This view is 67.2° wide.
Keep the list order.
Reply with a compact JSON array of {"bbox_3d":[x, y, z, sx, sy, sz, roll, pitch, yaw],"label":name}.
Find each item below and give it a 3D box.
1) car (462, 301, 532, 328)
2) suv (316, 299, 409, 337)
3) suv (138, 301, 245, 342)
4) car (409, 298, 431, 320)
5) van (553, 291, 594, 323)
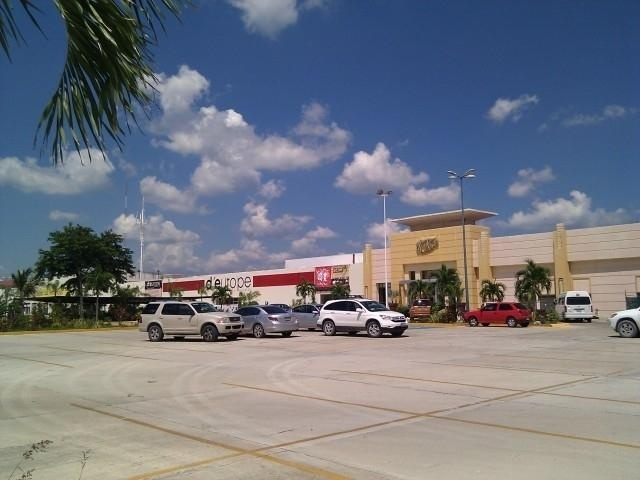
[{"bbox_3d":[13.101,5.333,34.719,3.473,1.405,1.980,-2,-7,43],"label":"car"},{"bbox_3d":[2.513,4.282,26.525,3.909,1.670,2.184,-10,-13,36],"label":"suv"},{"bbox_3d":[-6.281,4.081,24.301,4.327,1.931,2.381,-5,-8,17],"label":"suv"},{"bbox_3d":[9.432,6.445,44.585,2.062,1.911,1.133,-5,-7,23],"label":"car"},{"bbox_3d":[20.588,5.356,39.291,2.236,2.138,3.947,-1,-2,13],"label":"van"}]
